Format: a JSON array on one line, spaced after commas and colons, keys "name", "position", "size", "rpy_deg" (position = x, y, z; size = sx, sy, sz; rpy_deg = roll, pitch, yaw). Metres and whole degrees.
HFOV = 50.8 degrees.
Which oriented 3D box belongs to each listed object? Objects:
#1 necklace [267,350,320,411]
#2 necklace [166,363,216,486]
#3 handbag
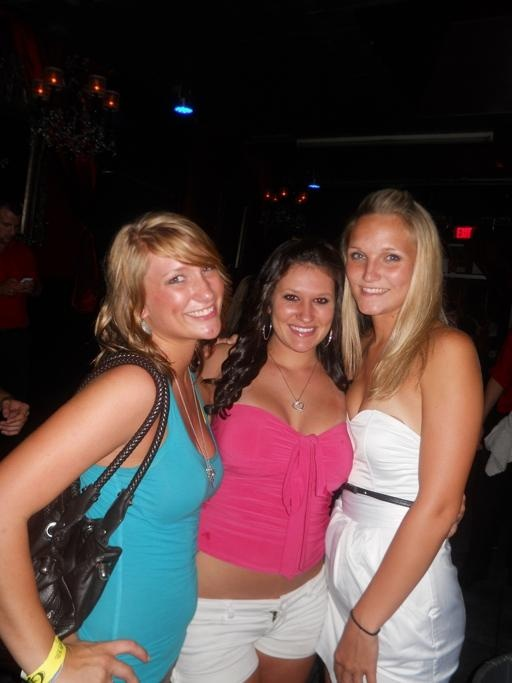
[{"name": "necklace", "position": [0.157, 0.176, 2.372], "size": [0.311, 0.016, 0.360], "rpy_deg": [9, 40, -10]}, {"name": "necklace", "position": [-0.230, 0.283, 1.872], "size": [0.107, 0.412, 0.017], "rpy_deg": [9, -44, -38]}, {"name": "handbag", "position": [-0.445, 0.400, 1.487], "size": [0.226, 0.725, 0.352], "rpy_deg": [9, 7, 36]}]
